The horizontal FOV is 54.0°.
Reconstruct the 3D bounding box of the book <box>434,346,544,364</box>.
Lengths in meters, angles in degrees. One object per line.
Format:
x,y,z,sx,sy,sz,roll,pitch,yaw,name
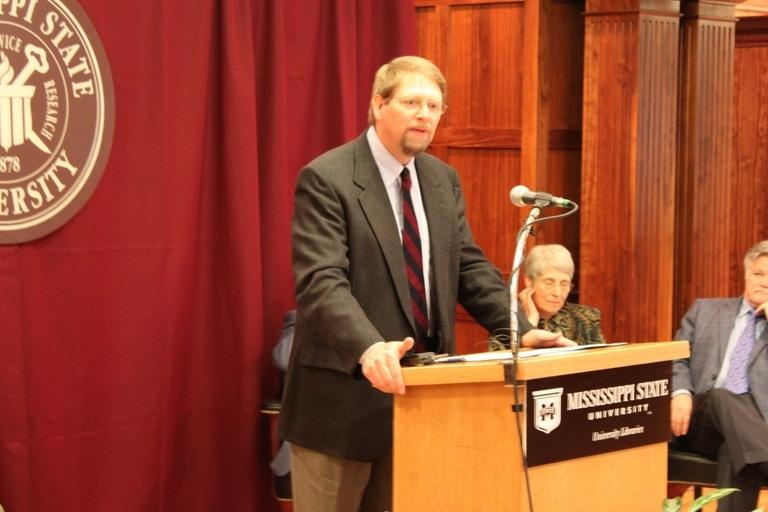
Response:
0.343,0.321,2.493,0.346,0.051,0.266,-1,3,10,book

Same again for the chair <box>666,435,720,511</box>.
1.569,1.097,3.848,0.220,0.319,0.325,0,4,20,chair

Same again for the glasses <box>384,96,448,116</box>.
0.135,-0.537,2.712,0.171,0.047,0.032,-2,4,-15,glasses

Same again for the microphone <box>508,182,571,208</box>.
0.556,-0.210,2.610,0.207,0.080,0.354,0,3,14,microphone

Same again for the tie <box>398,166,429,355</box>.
0.109,0.036,2.749,0.081,0.626,0.069,0,-10,-10,tie
